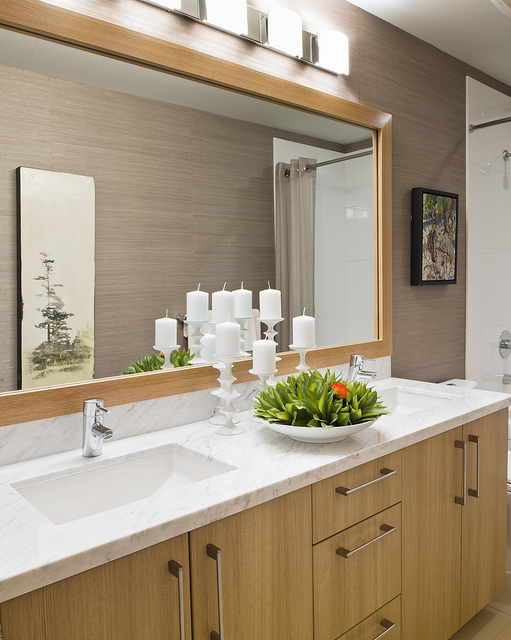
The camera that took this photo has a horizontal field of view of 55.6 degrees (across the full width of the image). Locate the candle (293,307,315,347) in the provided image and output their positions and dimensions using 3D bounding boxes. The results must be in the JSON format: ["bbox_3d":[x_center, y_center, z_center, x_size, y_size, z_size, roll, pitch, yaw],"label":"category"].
[{"bbox_3d":[0.158,0.041,1.643,0.091,0.150,0.090,1,-1,2],"label":"candle"}]

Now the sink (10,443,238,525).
[{"bbox_3d":[-0.327,0.331,1.112,0.457,0.124,0.299,-2,2,-37],"label":"sink"}]

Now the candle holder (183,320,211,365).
[{"bbox_3d":[-0.177,0.066,1.493,0.088,0.131,0.084,1,-4,-35],"label":"candle holder"}]

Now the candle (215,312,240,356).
[{"bbox_3d":[-0.078,0.038,1.330,0.100,0.117,0.097,-1,8,-10],"label":"candle"}]

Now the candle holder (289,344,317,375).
[{"bbox_3d":[0.154,0.126,1.654,0.093,0.137,0.090,-4,6,-20],"label":"candle holder"}]

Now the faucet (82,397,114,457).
[{"bbox_3d":[-0.374,0.248,1.145,0.076,0.158,0.084,11,10,-9],"label":"faucet"}]

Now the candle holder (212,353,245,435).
[{"bbox_3d":[-0.076,0.205,1.367,0.098,0.217,0.096,-1,0,-3],"label":"candle holder"}]

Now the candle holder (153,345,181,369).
[{"bbox_3d":[-0.257,0.108,1.402,0.060,0.046,0.061,4,4,33],"label":"candle holder"}]

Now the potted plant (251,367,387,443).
[{"bbox_3d":[0.164,0.230,1.293,0.289,0.175,0.261,-1,4,-31],"label":"potted plant"}]

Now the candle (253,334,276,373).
[{"bbox_3d":[0.021,0.109,1.459,0.083,0.135,0.086,1,1,-6],"label":"candle"}]
